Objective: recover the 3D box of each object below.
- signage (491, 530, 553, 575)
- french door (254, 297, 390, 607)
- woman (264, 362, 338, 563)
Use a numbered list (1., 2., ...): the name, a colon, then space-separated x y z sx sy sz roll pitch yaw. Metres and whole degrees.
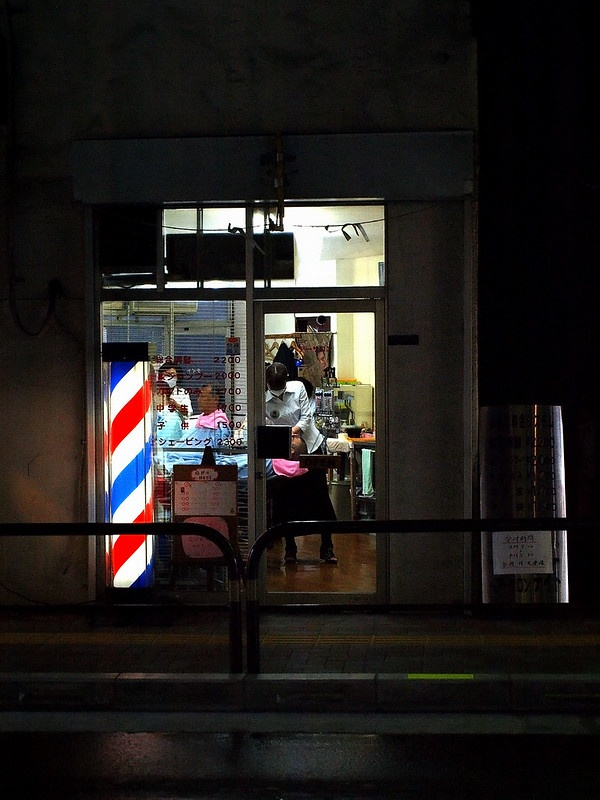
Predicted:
1. signage: 1.421 0.955 6.320 0.378 0.340 0.056 0 -3 7
2. french door: 0.115 0.177 7.400 0.939 0.062 2.469 -3 36 -2
3. woman: -0.004 0.410 7.565 0.356 1.365 0.486 -13 7 30
